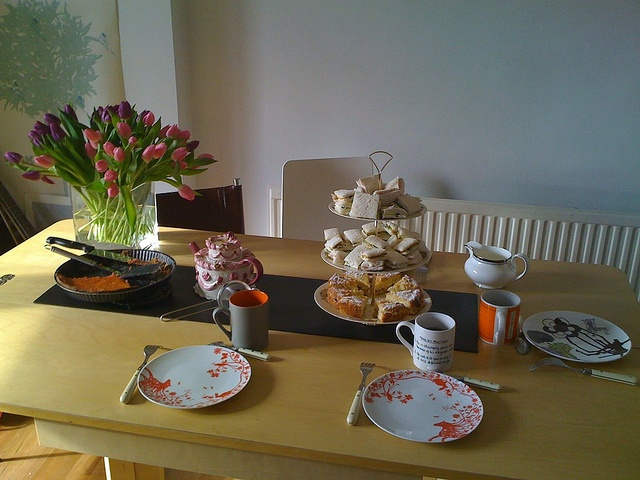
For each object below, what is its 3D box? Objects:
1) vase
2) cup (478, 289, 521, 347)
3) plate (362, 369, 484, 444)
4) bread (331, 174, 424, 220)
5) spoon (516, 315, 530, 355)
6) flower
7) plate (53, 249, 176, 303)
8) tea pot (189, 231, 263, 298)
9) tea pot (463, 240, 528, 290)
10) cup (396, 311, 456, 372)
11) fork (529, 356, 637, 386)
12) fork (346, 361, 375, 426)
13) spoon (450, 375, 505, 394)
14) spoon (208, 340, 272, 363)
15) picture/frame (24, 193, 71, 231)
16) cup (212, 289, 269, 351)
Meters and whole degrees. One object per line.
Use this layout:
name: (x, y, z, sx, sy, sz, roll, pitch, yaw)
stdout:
vase: (-0.771, -0.080, 1.735, 0.260, 0.264, 0.264, -1, 19, -7)
cup: (0.471, 0.208, 1.201, 0.097, 0.112, 0.155, 1, 26, 14)
plate: (0.220, 0.360, 0.976, 0.240, 0.036, 0.255, 8, 17, 27)
bread: (0.189, -0.143, 1.442, 0.297, 0.107, 0.292, -3, 18, 4)
spoon: (0.545, 0.256, 1.201, 0.024, 0.016, 0.163, 0, 21, 13)
flower: (-0.777, -0.290, 1.663, 0.603, 0.478, 0.589, 6, 22, -2)
plate: (-0.675, 0.064, 1.389, 0.308, 0.039, 0.198, 12, 26, 20)
tea pot: (-0.292, 0.081, 1.404, 0.230, 0.168, 0.191, 18, 26, 33)
tea pot: (0.591, 0.090, 1.500, 0.202, 0.138, 0.161, 7, 21, 23)
cup: (0.262, 0.261, 1.121, 0.150, 0.118, 0.096, 2, 16, 11)
fork: (0.648, 0.327, 1.087, 0.191, 0.027, 0.034, 3, 27, 18)
fork: (0.089, 0.352, 1.002, 0.029, 0.023, 0.216, 6, 25, 12)
spoon: (0.370, 0.343, 1.040, 0.088, 0.008, 0.013, 12, 39, 13)
spoon: (-0.215, 0.284, 1.173, 0.186, 0.020, 0.057, 11, 36, 23)
picture/frame: (-1.852, -0.209, 2.993, 0.287, 0.297, 0.030, 11, 27, 3)
cup: (-0.177, 0.208, 1.176, 0.178, 0.171, 0.114, -1, 25, -3)
